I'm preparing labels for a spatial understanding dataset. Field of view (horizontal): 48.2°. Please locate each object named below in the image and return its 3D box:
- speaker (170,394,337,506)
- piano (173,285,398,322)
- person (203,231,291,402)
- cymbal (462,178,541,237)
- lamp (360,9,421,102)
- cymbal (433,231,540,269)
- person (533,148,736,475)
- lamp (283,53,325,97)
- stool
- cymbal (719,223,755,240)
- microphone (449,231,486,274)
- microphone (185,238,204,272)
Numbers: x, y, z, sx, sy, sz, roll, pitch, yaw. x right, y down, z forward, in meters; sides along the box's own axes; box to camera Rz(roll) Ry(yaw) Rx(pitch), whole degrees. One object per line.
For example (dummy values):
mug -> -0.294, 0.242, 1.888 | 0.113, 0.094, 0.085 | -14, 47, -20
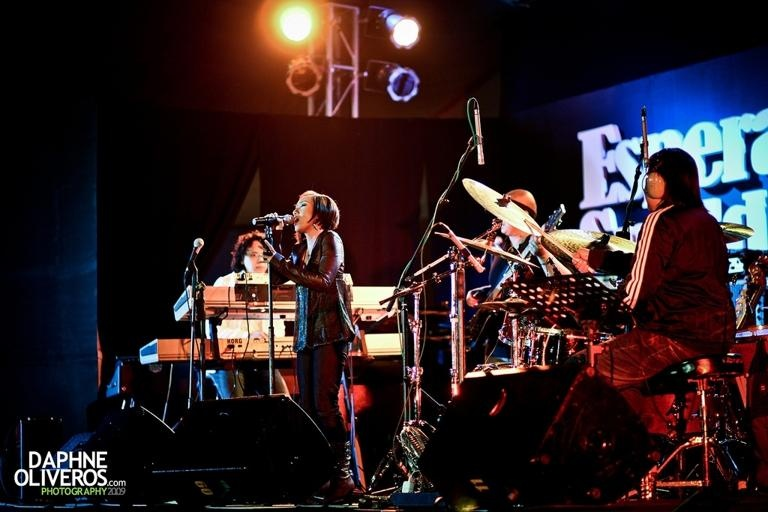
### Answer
speaker -> -0.982, 1.428, 6.387 | 0.887, 0.859, 0.680 | 1, 36, -2
piano -> -1.151, 0.402, 8.346 | 1.492, 0.270, 0.574 | -6, 1, -33
person -> -1.390, 0.612, 8.560 | 1.118, 1.738, 0.476 | 0, -11, -21
cymbal -> 1.022, -0.423, 7.494 | 0.550, 0.143, 0.559 | 40, 19, -2
lamp -> 0.095, -2.529, 10.552 | 0.679, 1.163, 0.326 | -2, -7, -3
cymbal -> 0.775, -0.135, 7.503 | 0.957, 0.165, 0.703 | 13, 19, 35
person -> 1.903, 0.246, 6.350 | 1.502, 2.180, 0.616 | 1, -7, -22
lamp -> -0.954, -2.205, 10.430 | 0.431, 0.405, 0.300 | -2, -7, -6
stool -> 2.380, 1.333, 6.434 | 0.793, 1.171, 0.915 | 1, -8, 37
cymbal -> 3.017, -0.212, 7.382 | 0.237, 0.075, 0.201 | 10, 32, 8
microphone -> 0.786, -0.040, 8.124 | 0.134, 0.530, 0.094 | -39, -5, 31
microphone -> -1.955, -0.015, 8.858 | 0.110, 0.379, 0.108 | 40, 14, 31
